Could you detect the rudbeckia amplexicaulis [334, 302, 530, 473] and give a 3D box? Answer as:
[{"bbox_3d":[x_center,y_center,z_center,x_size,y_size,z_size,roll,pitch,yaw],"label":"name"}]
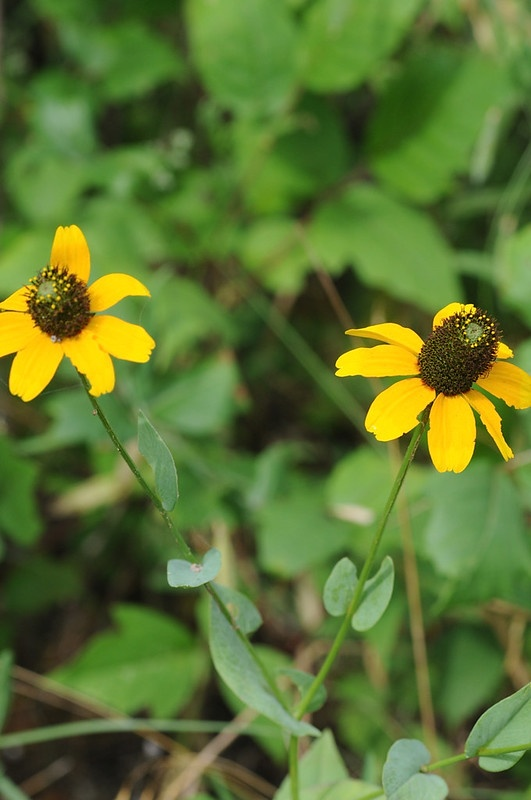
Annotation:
[{"bbox_3d":[0.252,-0.033,1.072,0.267,0.151,0.259,-24,44,-19],"label":"rudbeckia amplexicaulis"}]
